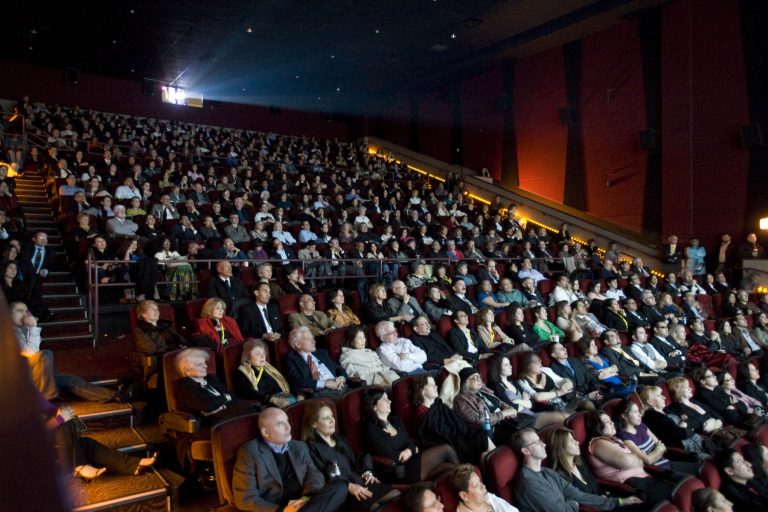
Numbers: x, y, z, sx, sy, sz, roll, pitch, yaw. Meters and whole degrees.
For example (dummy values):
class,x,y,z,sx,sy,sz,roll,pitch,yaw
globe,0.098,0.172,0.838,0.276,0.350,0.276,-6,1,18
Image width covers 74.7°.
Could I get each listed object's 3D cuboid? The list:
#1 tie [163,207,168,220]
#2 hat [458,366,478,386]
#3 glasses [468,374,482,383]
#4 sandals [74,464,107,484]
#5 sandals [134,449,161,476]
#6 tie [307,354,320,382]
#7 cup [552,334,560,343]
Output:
class,x,y,z,sx,sy,sz,roll,pitch,yaw
tie,-3.790,-0.728,8.726,0.045,0.173,0.128,-4,1,-5
hat,0.960,1.366,5.723,0.175,0.096,0.155,-20,-11,-11
glasses,1.027,1.398,5.662,0.129,0.071,0.100,-18,-7,26
sandals,-2.653,1.936,4.500,0.279,0.131,0.097,0,4,2
sandals,-2.178,1.897,4.640,0.197,0.114,0.060,-24,-2,1
tie,-0.792,1.246,5.662,0.125,0.241,0.176,-4,5,-43
cup,2.404,1.157,7.017,0.097,0.082,0.111,-5,-3,-40
